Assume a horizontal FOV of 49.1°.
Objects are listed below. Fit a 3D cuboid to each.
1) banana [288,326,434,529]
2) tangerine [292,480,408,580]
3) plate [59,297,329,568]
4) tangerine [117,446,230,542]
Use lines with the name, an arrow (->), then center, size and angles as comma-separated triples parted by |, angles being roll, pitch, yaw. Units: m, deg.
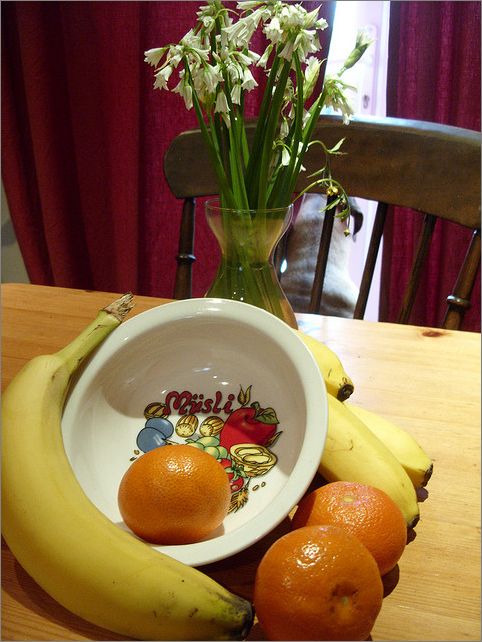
banana -> 0.075, 0.097, 0.468 | 0.078, 0.058, 0.169 | -12, 50, -41
tangerine -> 0.074, 0.139, 0.347 | 0.071, 0.056, 0.073 | -6, 11, 17
plate -> -0.030, 0.093, 0.501 | 0.253, 0.268, 0.099 | -4, 48, 6
tangerine -> -0.043, 0.105, 0.322 | 0.060, 0.055, 0.057 | -1, 1, 2
